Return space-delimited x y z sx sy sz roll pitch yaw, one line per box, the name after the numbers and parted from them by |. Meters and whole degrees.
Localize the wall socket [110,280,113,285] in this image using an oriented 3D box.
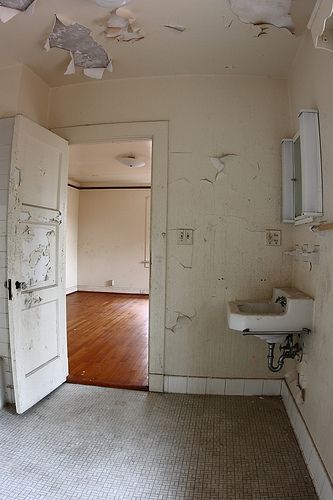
-1.129 0.682 7.406 0.062 0.084 0.083 4 -7 -22 | wall socket

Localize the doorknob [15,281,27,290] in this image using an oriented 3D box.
-0.962 0.242 2.398 0.036 0.067 0.096 0 6 5 | doorknob

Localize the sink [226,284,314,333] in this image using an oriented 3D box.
0.653 0.373 2.400 0.484 0.218 0.518 1 6 7 | sink

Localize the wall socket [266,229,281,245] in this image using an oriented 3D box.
0.774 -0.088 2.633 0.100 0.107 0.024 4 -1 7 | wall socket
